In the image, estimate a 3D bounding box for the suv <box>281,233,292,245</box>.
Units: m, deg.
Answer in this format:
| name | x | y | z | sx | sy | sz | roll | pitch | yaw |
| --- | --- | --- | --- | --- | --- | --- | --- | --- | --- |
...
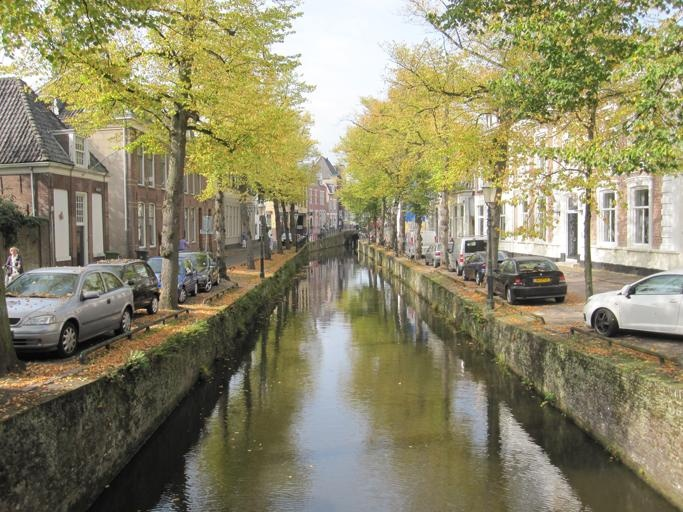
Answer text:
| name | x | y | z | sx | sy | sz | roll | pitch | yaw |
| --- | --- | --- | --- | --- | --- | --- | --- | --- | --- |
| suv | -5.296 | -1.807 | 60.598 | 1.089 | 1.045 | 2.567 | 0 | -3 | -6 |
